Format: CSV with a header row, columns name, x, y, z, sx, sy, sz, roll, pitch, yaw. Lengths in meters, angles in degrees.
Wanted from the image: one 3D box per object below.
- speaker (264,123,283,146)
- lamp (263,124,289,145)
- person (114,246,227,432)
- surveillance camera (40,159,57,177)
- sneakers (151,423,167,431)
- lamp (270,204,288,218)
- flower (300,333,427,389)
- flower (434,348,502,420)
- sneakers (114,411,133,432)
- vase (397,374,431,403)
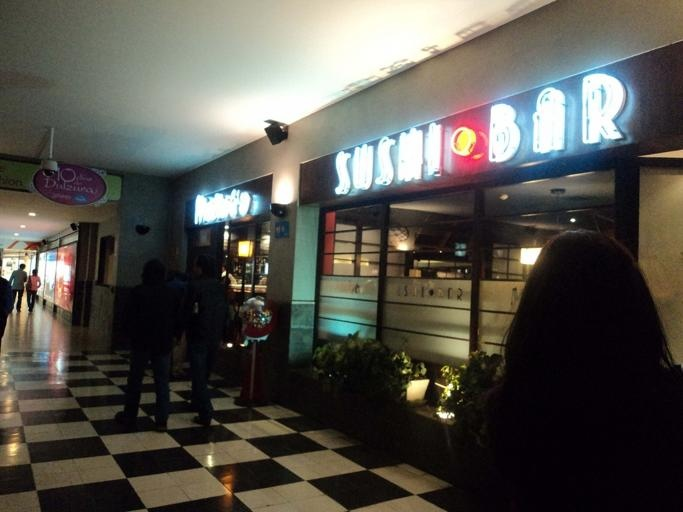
name,x,y,z,sx,sy,sz,roll,pitch,yaw
speaker,-0.870,-1.564,6.885,0.118,0.127,0.217,-38,-17,-3
lamp,-0.820,-1.566,6.845,0.224,0.294,0.304,-22,28,-35
person,-1.666,0.815,5.293,0.935,1.449,0.488,3,-1,-22
surveillance camera,-4.284,-1.278,7.790,0.238,0.285,0.291,-2,6,-32
sneakers,-1.718,1.607,5.043,0.145,0.067,0.052,-12,-42,-2
lamp,-0.795,-0.570,6.786,0.145,0.183,0.264,-9,13,-41
flower,0.223,1.044,5.131,0.696,0.404,0.565,3,-2,13
flower,1.069,0.921,4.212,0.296,0.204,0.387,-21,22,-10
sneakers,-2.102,1.583,5.137,0.101,0.110,0.259,0,12,-37
vase,0.666,1.199,4.939,0.214,0.187,0.262,-2,-5,16
